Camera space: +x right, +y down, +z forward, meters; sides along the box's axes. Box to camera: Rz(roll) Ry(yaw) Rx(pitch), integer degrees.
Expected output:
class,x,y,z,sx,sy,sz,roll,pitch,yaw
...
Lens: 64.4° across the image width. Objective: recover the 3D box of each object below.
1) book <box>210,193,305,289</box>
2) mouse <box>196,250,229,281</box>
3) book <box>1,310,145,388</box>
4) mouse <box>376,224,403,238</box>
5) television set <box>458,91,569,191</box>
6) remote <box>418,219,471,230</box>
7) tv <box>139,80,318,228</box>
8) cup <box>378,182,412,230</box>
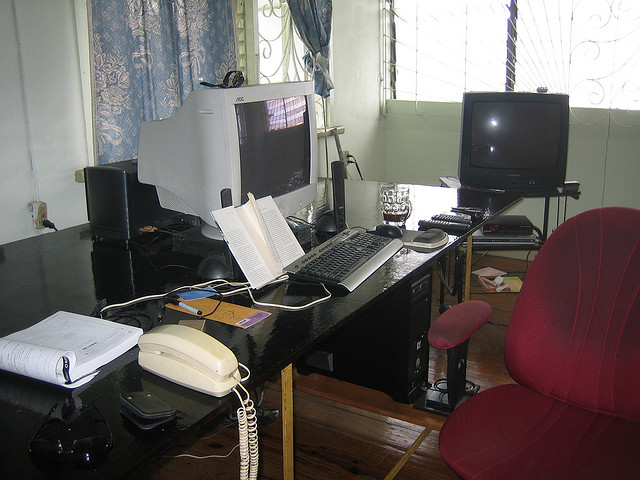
class,x,y,z,sx,sy,sz,roll,pitch,yaw
book,-0.237,0.057,1.696,0.115,0.300,0.290,-30,-4,41
mouse,-0.345,0.101,1.656,0.080,0.090,0.032,-16,54,8
book,-0.631,0.258,1.265,0.296,0.079,0.235,6,20,21
mouse,0.262,-0.035,1.942,0.050,0.025,0.075,10,12,17
television set,1.070,-0.553,2.825,0.542,0.513,0.174,-1,17,-1
remote,0.508,-0.065,2.109,0.139,0.021,0.077,4,11,27
tv,-0.359,-0.355,2.050,0.452,0.593,0.664,12,22,22
cup,0.288,-0.135,2.127,0.152,0.165,0.099,3,5,-23
